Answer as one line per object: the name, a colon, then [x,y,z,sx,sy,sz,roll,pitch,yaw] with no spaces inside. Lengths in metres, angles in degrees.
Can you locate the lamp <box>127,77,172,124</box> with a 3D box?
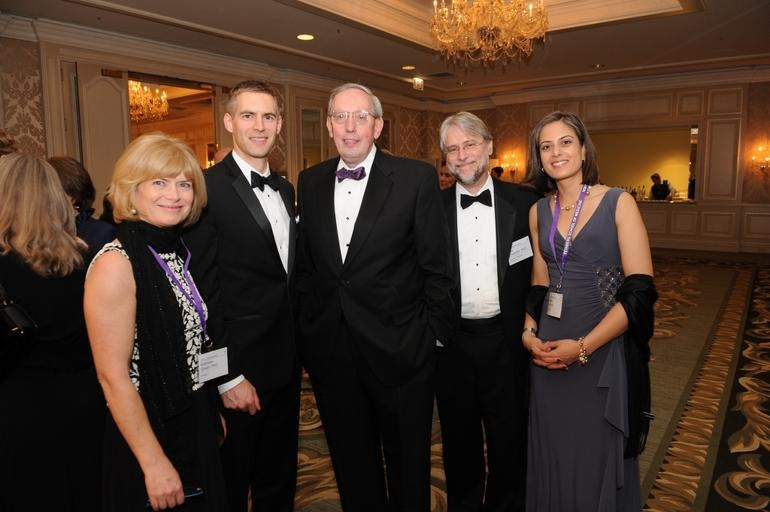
lamp: [-4.570,-3.157,10.170,0.750,1.146,0.790,5,11,0]

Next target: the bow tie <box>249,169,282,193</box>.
bow tie: [-0.728,-0.451,3.196,0.145,0.110,0.034,-11,2,-37]

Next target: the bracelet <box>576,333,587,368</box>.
bracelet: [1.140,0.556,3.093,0.036,0.132,0.096,-6,10,14]

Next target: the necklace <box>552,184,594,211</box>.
necklace: [1.149,-0.335,3.262,0.171,0.045,0.144,-26,-23,39]
